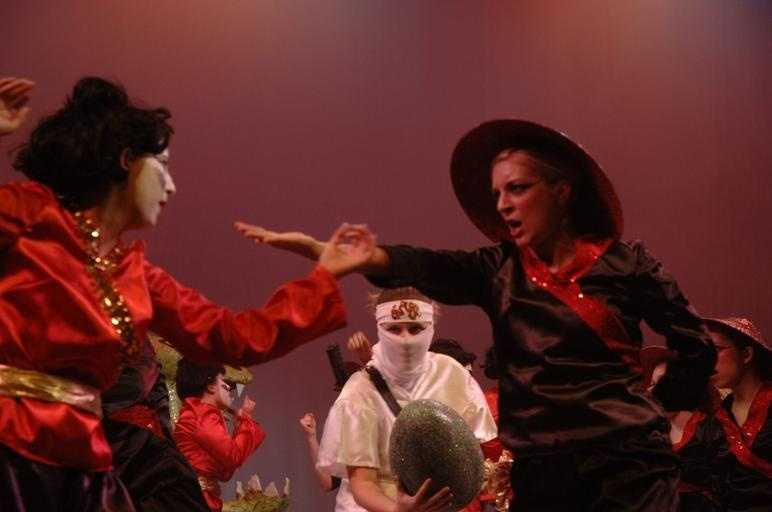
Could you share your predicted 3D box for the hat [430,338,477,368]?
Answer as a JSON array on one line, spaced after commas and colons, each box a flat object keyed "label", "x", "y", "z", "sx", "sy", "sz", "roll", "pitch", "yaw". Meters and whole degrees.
[{"label": "hat", "x": 0.371, "y": 0.525, "z": 4.230, "sx": 0.207, "sy": 0.089, "sz": 0.160, "roll": 27, "pitch": 2, "yaw": 10}]
